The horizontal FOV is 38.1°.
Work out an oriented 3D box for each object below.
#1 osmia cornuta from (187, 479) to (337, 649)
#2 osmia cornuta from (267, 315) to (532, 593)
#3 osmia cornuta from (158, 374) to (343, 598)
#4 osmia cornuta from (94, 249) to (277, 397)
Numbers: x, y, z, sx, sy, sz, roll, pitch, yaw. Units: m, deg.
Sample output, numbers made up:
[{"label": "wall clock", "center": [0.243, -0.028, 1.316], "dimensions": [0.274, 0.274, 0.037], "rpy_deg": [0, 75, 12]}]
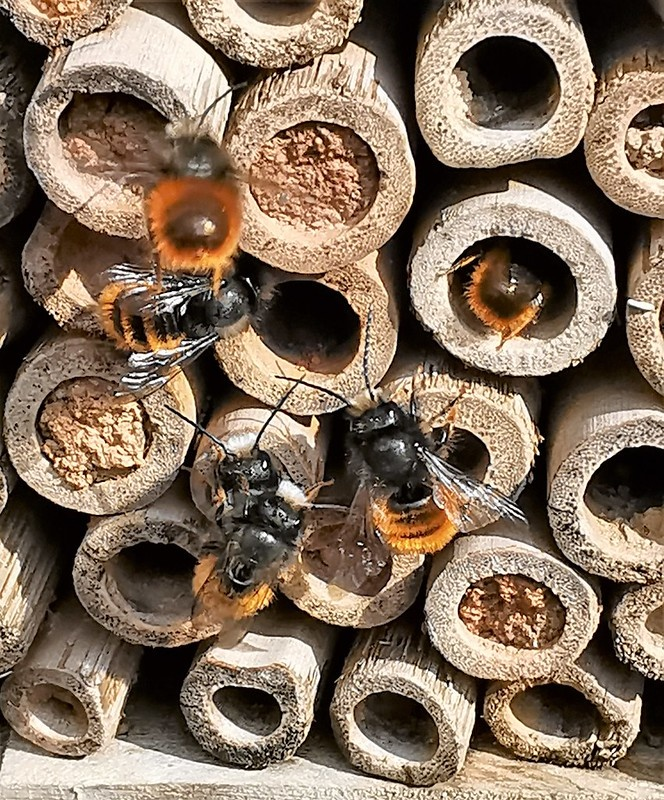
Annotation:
[{"label": "osmia cornuta", "center": [-0.143, 0.309, 1.877], "dimensions": [0.219, 0.307, 0.114], "rpy_deg": [28, 1, 12]}, {"label": "osmia cornuta", "center": [0.151, 0.131, 1.832], "dimensions": [0.444, 0.491, 0.303], "rpy_deg": [7, 2, 33]}, {"label": "osmia cornuta", "center": [-0.153, 0.161, 1.912], "dimensions": [0.309, 0.392, 0.131], "rpy_deg": [-3, 3, 4]}, {"label": "osmia cornuta", "center": [-0.277, -0.157, 1.751], "dimensions": [0.133, 0.277, 0.397], "rpy_deg": [13, 25, 42]}]
